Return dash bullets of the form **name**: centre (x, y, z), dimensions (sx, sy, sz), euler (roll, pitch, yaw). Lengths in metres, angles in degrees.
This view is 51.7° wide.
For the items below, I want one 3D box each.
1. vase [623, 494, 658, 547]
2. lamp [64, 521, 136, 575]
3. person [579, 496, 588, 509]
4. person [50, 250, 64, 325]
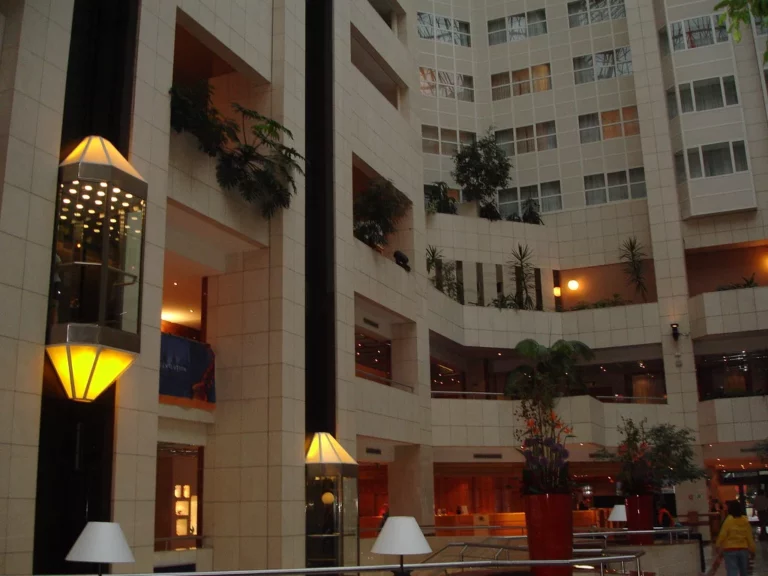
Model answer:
- **vase**: centre (6.396, 5.516, 19.868), dimensions (0.654, 1.052, 0.635), euler (9, -8, -43)
- **lamp**: centre (-3.558, 3.236, 9.955), dimensions (0.686, 0.590, 0.427), euler (-9, -18, 18)
- **person**: centre (8.503, 9.192, 33.914), dimensions (0.340, 0.447, 1.204), euler (-6, -17, 8)
- **person**: centre (-5.450, -0.030, 13.348), dimensions (0.138, 1.105, 0.241), euler (2, -3, -3)
